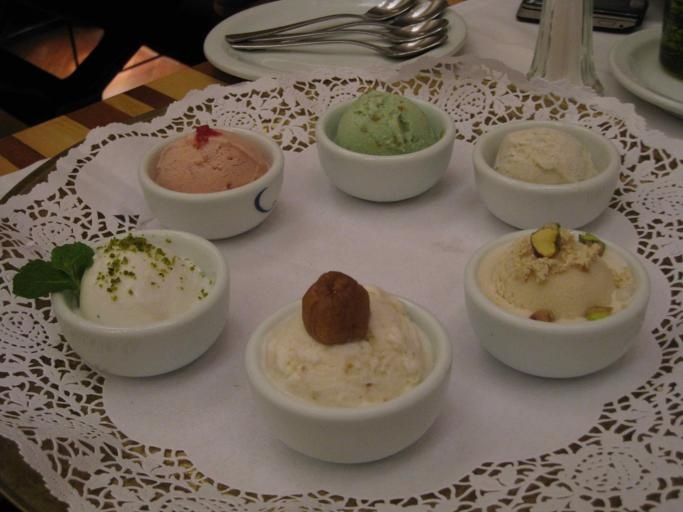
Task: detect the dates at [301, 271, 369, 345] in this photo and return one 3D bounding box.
[{"bbox_3d":[-0.012,0.132,1.691,0.224,0.179,0.224,-2,23,-10],"label":"dates"}]

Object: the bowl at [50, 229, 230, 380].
[{"bbox_3d":[-0.604,0.145,1.883,0.411,0.196,0.540,34,63,29],"label":"bowl"}]

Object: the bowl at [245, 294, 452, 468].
[{"bbox_3d":[0.021,0.330,1.644,0.575,0.167,0.433,-5,51,3],"label":"bowl"}]

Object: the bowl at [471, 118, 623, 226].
[{"bbox_3d":[0.842,-0.362,2.359,0.509,0.422,0.610,-16,26,-33],"label":"bowl"}]

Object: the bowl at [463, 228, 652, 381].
[{"bbox_3d":[0.655,0.154,1.822,0.536,0.200,0.417,3,52,9],"label":"bowl"}]
